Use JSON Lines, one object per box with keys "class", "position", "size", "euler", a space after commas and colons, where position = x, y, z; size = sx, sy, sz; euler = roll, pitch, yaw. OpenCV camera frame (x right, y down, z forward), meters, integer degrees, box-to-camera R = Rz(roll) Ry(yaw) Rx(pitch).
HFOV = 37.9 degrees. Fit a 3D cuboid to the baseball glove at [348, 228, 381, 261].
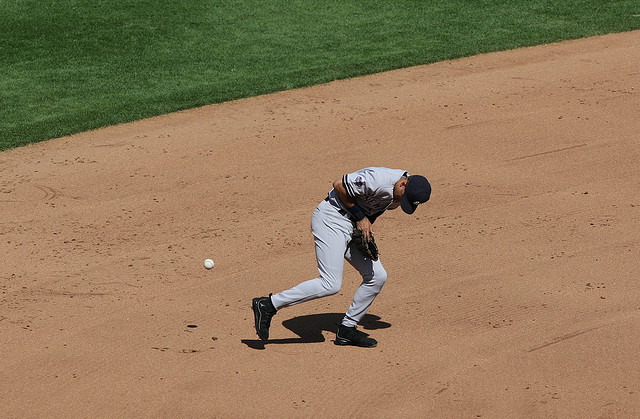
{"class": "baseball glove", "position": [0.661, 0.518, 13.749], "size": [0.210, 0.336, 0.522], "euler": [-36, 84, -2]}
